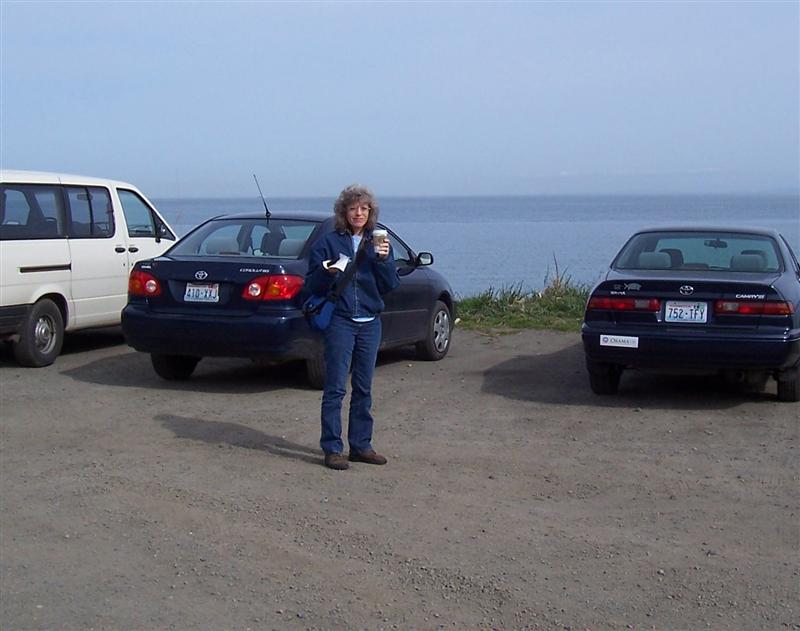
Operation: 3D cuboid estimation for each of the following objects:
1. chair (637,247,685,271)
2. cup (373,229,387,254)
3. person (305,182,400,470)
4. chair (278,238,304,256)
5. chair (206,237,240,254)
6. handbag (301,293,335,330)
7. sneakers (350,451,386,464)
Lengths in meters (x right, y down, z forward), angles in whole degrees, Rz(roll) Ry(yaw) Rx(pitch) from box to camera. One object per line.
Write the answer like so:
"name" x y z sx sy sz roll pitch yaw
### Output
"chair" 3.074 -0.649 7.569 0.305 0.225 0.423 0 1 32
"cup" -0.152 -0.549 4.739 0.138 0.221 0.141 1 4 0
"person" -0.411 0.064 5.002 0.806 2.250 0.600 4 -7 -44
"chair" -1.255 -0.766 7.380 0.229 0.259 0.198 6 -10 -1
"chair" -2.133 -0.812 7.615 0.279 0.220 0.235 -1 -2 8
"handbag" -0.621 -0.003 4.900 0.238 0.294 0.145 -3 7 -11
"sneakers" -0.251 1.154 5.203 0.297 0.141 0.111 1 4 6
